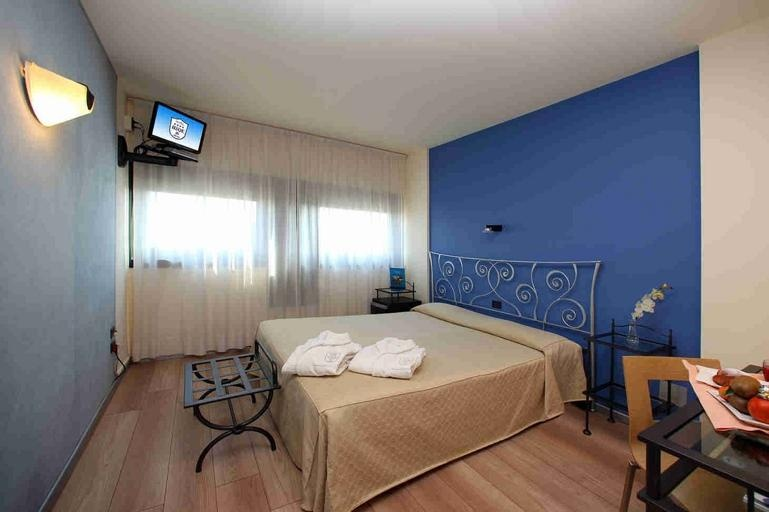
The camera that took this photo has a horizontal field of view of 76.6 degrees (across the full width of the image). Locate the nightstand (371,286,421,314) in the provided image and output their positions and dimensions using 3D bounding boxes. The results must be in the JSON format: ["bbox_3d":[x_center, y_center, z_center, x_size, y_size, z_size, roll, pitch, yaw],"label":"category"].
[{"bbox_3d":[0.152,0.588,6.422,0.423,0.316,0.437,2,-1,-24],"label":"nightstand"}]

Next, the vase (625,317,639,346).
[{"bbox_3d":[2.232,0.680,4.377,0.100,0.221,0.228,4,1,27],"label":"vase"}]

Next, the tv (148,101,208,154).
[{"bbox_3d":[-2.215,-1.371,5.170,0.076,0.389,0.570,21,6,37],"label":"tv"}]
